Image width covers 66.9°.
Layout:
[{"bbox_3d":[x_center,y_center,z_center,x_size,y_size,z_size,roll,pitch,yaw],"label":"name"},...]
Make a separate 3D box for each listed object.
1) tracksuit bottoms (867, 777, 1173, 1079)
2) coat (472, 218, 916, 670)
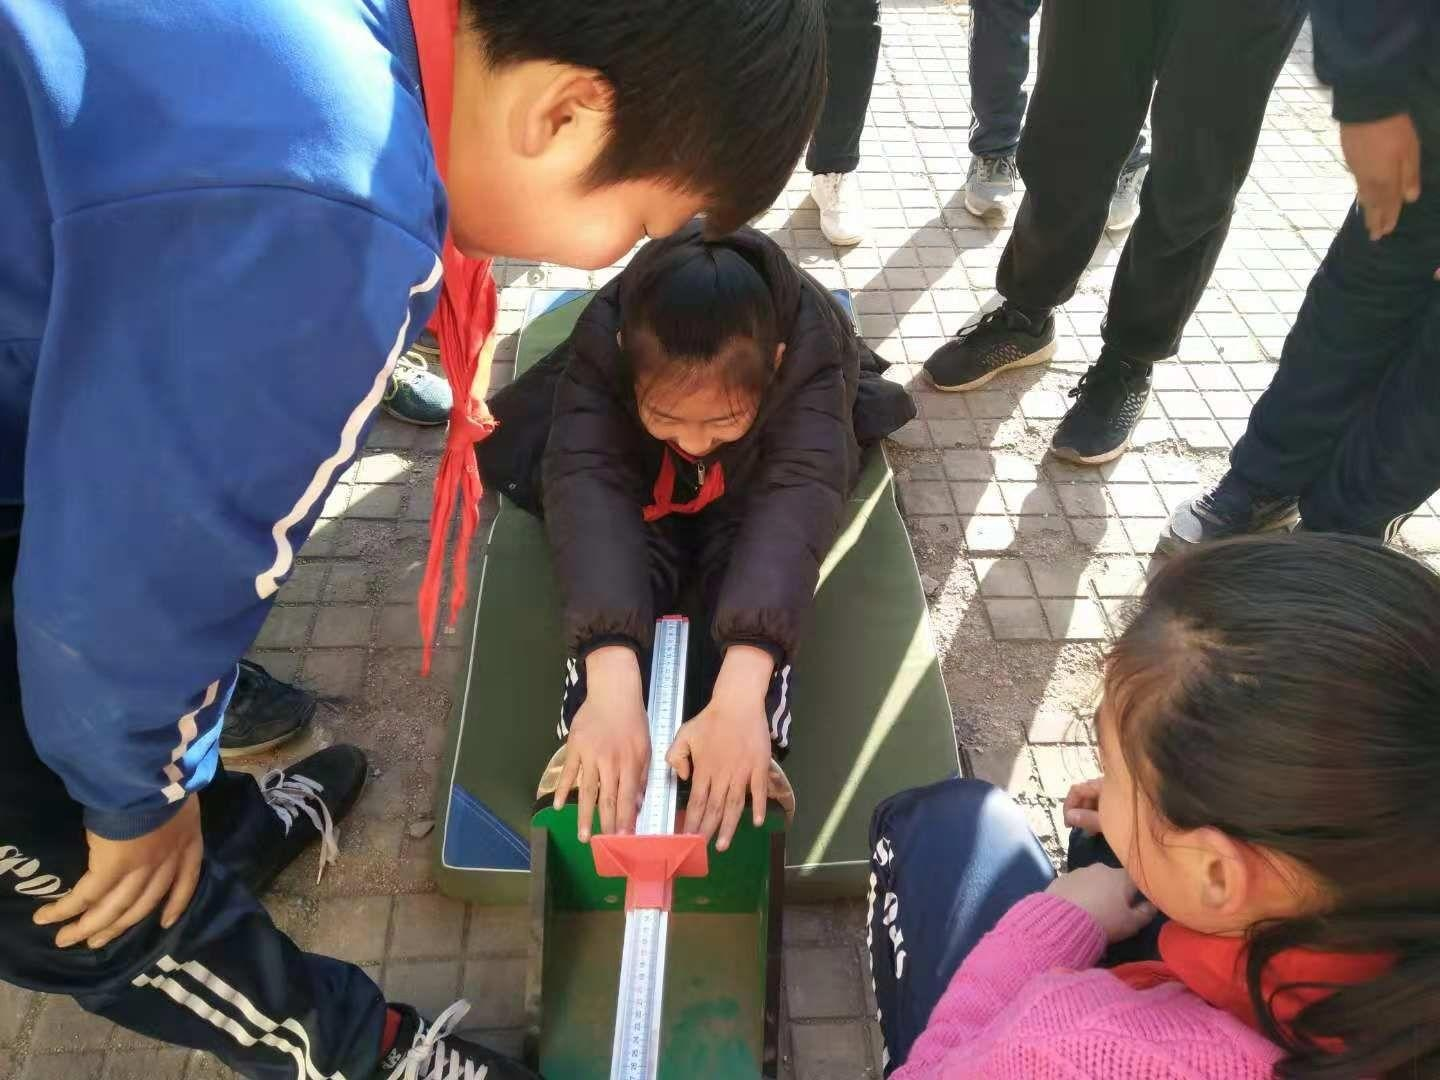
[{"bbox_3d":[0.439,0.583,1.619,0.383,0.169,0.454,-6,58,14],"label":"tracksuit bottoms"},{"bbox_3d":[-0.043,-0.130,2.325,0.670,0.324,1.027,4,57,-1],"label":"coat"}]
